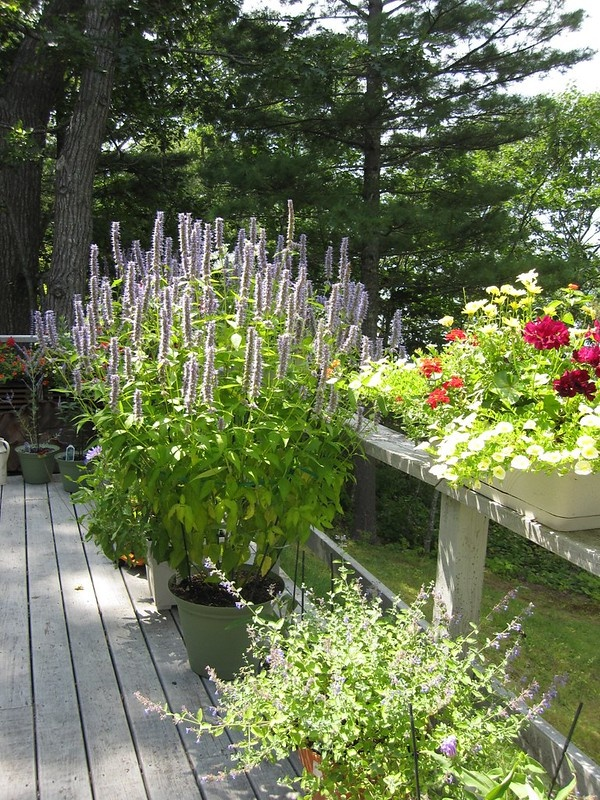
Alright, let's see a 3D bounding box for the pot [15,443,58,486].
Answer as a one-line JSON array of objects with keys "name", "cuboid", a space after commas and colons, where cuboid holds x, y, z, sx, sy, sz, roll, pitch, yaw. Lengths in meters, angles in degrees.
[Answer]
[{"name": "pot", "cuboid": [-1.879, 0.458, 4.488, 0.315, 0.206, 0.290, 1, 0, 0]}]
